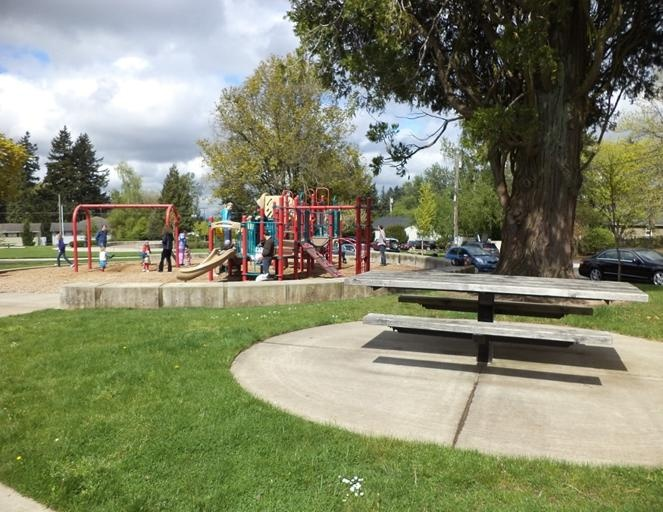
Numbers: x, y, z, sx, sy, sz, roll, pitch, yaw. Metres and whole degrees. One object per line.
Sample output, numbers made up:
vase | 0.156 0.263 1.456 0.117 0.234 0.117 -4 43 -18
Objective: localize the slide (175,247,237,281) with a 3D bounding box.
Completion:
slide | -4.025 0.313 18.963 1.680 1.048 1.932 0 8 -3

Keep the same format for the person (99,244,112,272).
person | -9.199 0.093 23.664 0.214 1.034 0.586 -5 10 -32

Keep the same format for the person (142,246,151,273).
person | -7.744 0.011 24.496 0.279 1.306 2.038 -3 9 -18

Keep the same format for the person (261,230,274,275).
person | -1.962 -0.028 18.133 0.396 1.377 1.121 -1 8 -7

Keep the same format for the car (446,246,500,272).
car | 6.424 0.062 26.555 1.363 1.239 2.265 -1 -1 -29
